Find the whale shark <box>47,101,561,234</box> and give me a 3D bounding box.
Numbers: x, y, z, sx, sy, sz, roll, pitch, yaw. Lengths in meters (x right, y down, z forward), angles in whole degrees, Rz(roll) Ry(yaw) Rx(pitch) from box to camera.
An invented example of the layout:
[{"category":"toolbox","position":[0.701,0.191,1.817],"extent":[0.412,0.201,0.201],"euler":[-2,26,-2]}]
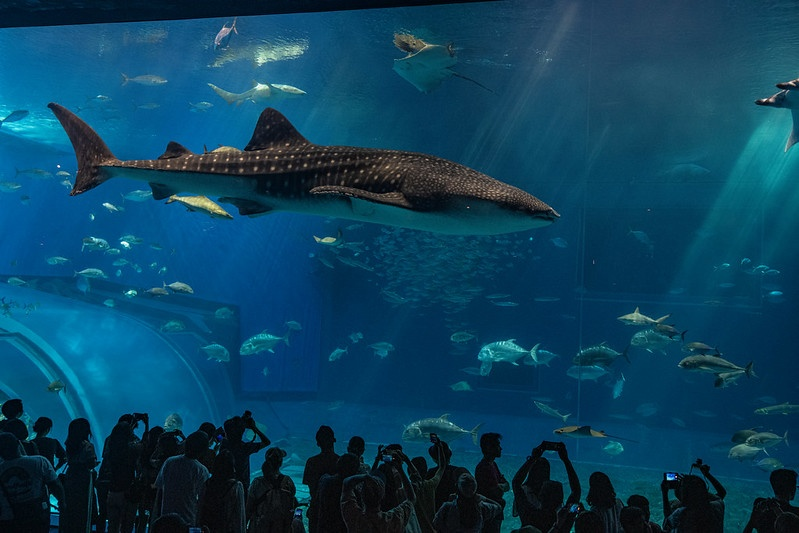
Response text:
[{"category":"whale shark","position":[-5.158,-2.856,22.718],"extent":[19.696,2.669,4.473],"euler":[4,12,5]}]
